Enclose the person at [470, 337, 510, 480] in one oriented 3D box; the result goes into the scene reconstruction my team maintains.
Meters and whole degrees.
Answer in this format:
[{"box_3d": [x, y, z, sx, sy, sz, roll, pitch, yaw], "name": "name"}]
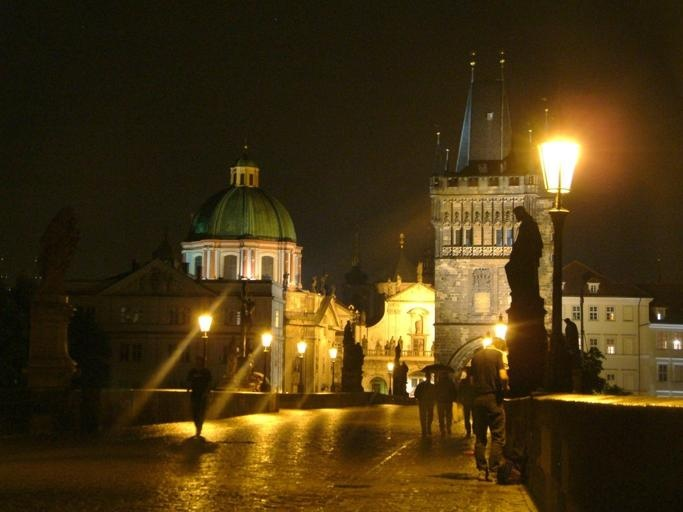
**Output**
[{"box_3d": [2.211, 2.270, 15.351, 0.635, 2.107, 0.629, -6, -13, 40], "name": "person"}]
